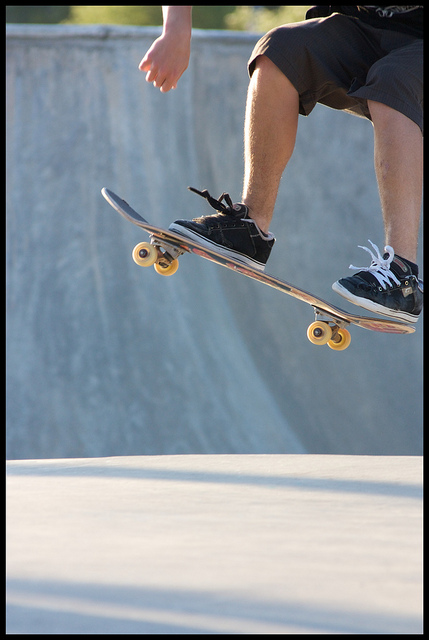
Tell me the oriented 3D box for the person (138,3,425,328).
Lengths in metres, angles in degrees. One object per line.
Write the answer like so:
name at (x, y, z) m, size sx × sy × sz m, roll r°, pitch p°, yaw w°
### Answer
person at (0.322, -0.515, 2.770) m, size 0.687 × 1.068 × 0.349 m, roll 0°, pitch 4°, yaw 13°

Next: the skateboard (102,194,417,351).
skateboard at (0.173, -0.261, 4.512) m, size 1.541 × 0.252 × 0.427 m, roll 27°, pitch -1°, yaw -5°
